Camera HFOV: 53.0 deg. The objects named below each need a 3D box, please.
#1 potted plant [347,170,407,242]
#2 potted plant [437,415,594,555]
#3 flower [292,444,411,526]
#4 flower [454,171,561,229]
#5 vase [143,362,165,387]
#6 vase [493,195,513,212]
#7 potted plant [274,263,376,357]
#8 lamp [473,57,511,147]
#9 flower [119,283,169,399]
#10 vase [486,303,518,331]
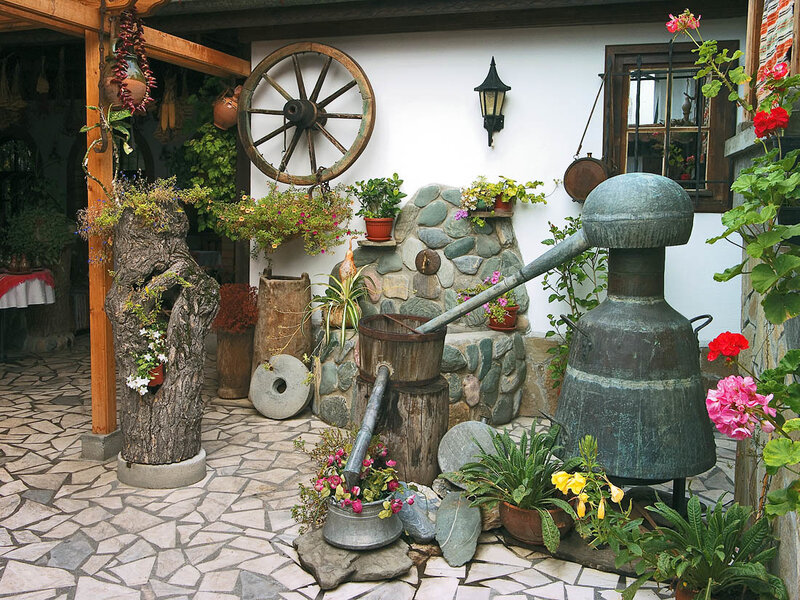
[{"bbox_3d":[-0.229,-0.915,7.797,0.529,0.661,0.401,3,9,6],"label":"potted plant"},{"bbox_3d":[0.825,1.094,5.581,0.831,0.864,0.751,8,8,27],"label":"potted plant"},{"bbox_3d":[-0.355,1.220,5.300,0.612,0.237,0.639,0,1,-2],"label":"flower"},{"bbox_3d":[0.942,-0.919,7.487,0.832,0.473,0.249,3,9,6],"label":"flower"},{"bbox_3d":[-1.842,0.564,6.009,0.129,0.116,0.144,0,0,-2],"label":"vase"},{"bbox_3d":[0.947,-0.896,7.386,0.138,0.123,0.160,1,4,-2],"label":"vase"},{"bbox_3d":[-0.626,0.054,7.561,0.649,0.935,0.719,-2,9,-39],"label":"potted plant"},{"bbox_3d":[0.840,-1.851,7.422,0.316,0.822,0.288,3,9,11],"label":"lamp"},{"bbox_3d":[-1.926,0.275,6.058,0.443,0.742,0.448,0,3,-15],"label":"flower"},{"bbox_3d":[0.929,0.140,7.408,0.224,0.178,0.228,3,4,37],"label":"vase"}]
